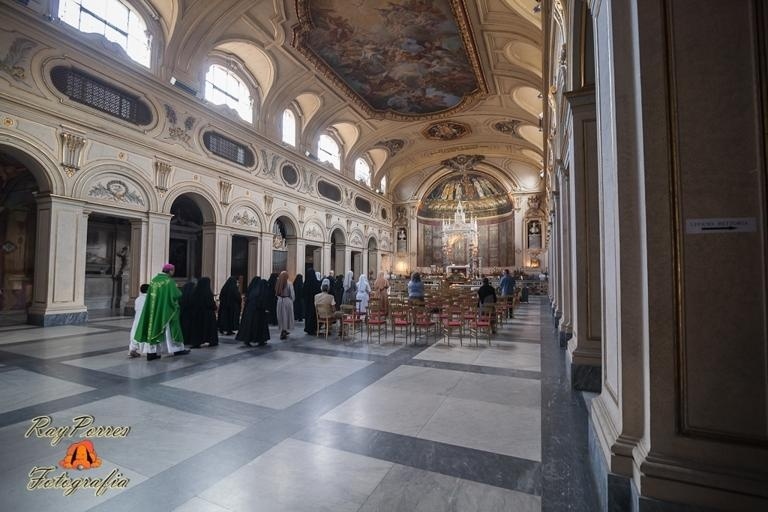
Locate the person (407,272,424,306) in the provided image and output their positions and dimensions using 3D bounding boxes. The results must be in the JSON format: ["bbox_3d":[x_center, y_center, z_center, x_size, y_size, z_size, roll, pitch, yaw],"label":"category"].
[{"bbox_3d":[0.905,1.066,13.313,0.441,1.312,0.421,0,23,12],"label":"person"}]

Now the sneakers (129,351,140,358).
[{"bbox_3d":[-4.652,1.837,8.977,0.093,0.076,0.179,6,-23,-23],"label":"sneakers"}]

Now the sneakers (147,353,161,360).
[{"bbox_3d":[-4.266,1.868,8.937,0.120,0.147,0.216,0,-1,23],"label":"sneakers"}]
